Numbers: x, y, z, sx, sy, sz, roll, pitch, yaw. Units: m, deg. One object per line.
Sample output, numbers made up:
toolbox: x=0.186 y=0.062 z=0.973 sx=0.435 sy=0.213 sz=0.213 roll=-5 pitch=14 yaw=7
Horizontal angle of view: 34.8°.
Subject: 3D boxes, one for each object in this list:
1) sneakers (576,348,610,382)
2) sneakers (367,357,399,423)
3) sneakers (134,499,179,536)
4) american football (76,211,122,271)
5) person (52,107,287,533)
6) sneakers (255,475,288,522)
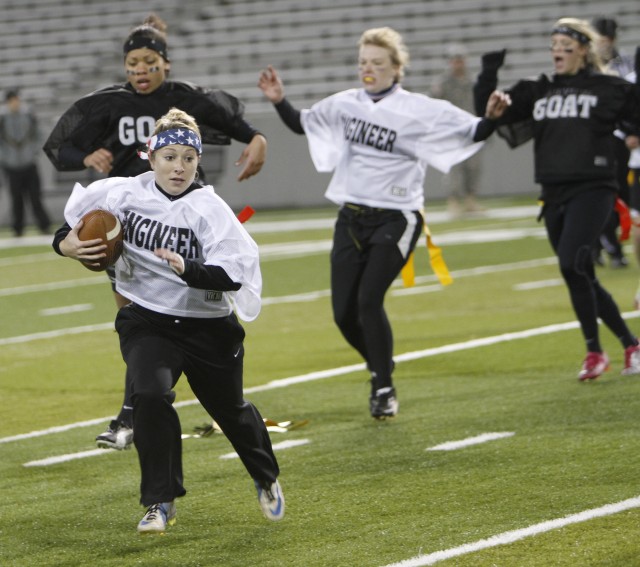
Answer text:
sneakers: x=1.599 y=0.486 z=5.995 sx=0.097 sy=0.115 sz=0.253 roll=-2 pitch=8 yaw=37
sneakers: x=0.357 y=0.622 z=5.828 sx=0.170 sy=0.290 sz=0.257 roll=-7 pitch=8 yaw=3
sneakers: x=-0.680 y=0.966 z=4.222 sx=0.088 sy=0.095 sz=0.233 roll=1 pitch=-10 yaw=8
american football: x=-1.046 y=-0.197 z=4.492 sx=0.206 sy=0.259 sz=0.257 roll=2 pitch=6 yaw=-20
person: x=-0.562 y=0.149 z=4.388 sx=0.660 sy=1.781 sz=0.707 roll=-9 pitch=8 yaw=-6
sneakers: x=-0.211 y=0.932 z=4.434 sx=0.111 sy=0.177 sz=0.137 roll=-8 pitch=8 yaw=-6
